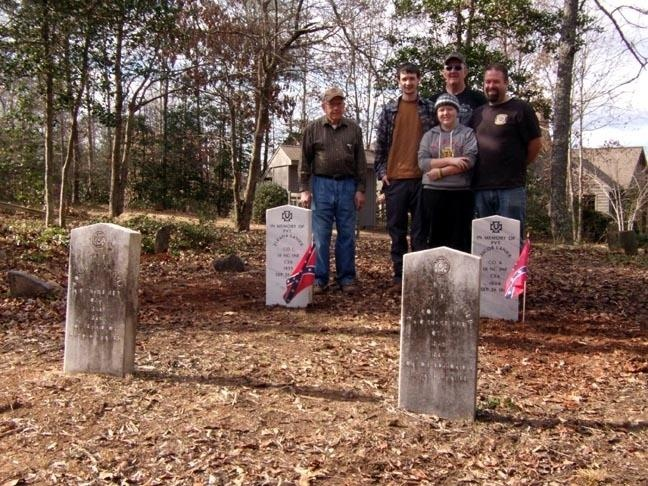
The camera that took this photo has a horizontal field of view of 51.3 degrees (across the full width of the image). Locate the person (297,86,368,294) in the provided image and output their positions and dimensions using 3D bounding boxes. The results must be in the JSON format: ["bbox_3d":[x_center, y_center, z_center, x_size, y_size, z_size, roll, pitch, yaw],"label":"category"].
[{"bbox_3d":[0.132,-0.741,9.814,0.943,2.938,0.748,0,13,2],"label":"person"}]

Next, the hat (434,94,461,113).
[{"bbox_3d":[1.615,-1.842,8.816,0.307,0.227,0.336,3,15,9],"label":"hat"}]

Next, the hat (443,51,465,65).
[{"bbox_3d":[1.781,-2.510,9.151,0.292,0.159,0.227,-1,14,-4],"label":"hat"}]

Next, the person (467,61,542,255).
[{"bbox_3d":[2.342,-1.286,8.773,0.853,1.998,0.519,3,14,12],"label":"person"}]

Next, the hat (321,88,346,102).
[{"bbox_3d":[0.142,-2.113,9.632,0.301,0.202,0.302,0,14,-3],"label":"hat"}]
